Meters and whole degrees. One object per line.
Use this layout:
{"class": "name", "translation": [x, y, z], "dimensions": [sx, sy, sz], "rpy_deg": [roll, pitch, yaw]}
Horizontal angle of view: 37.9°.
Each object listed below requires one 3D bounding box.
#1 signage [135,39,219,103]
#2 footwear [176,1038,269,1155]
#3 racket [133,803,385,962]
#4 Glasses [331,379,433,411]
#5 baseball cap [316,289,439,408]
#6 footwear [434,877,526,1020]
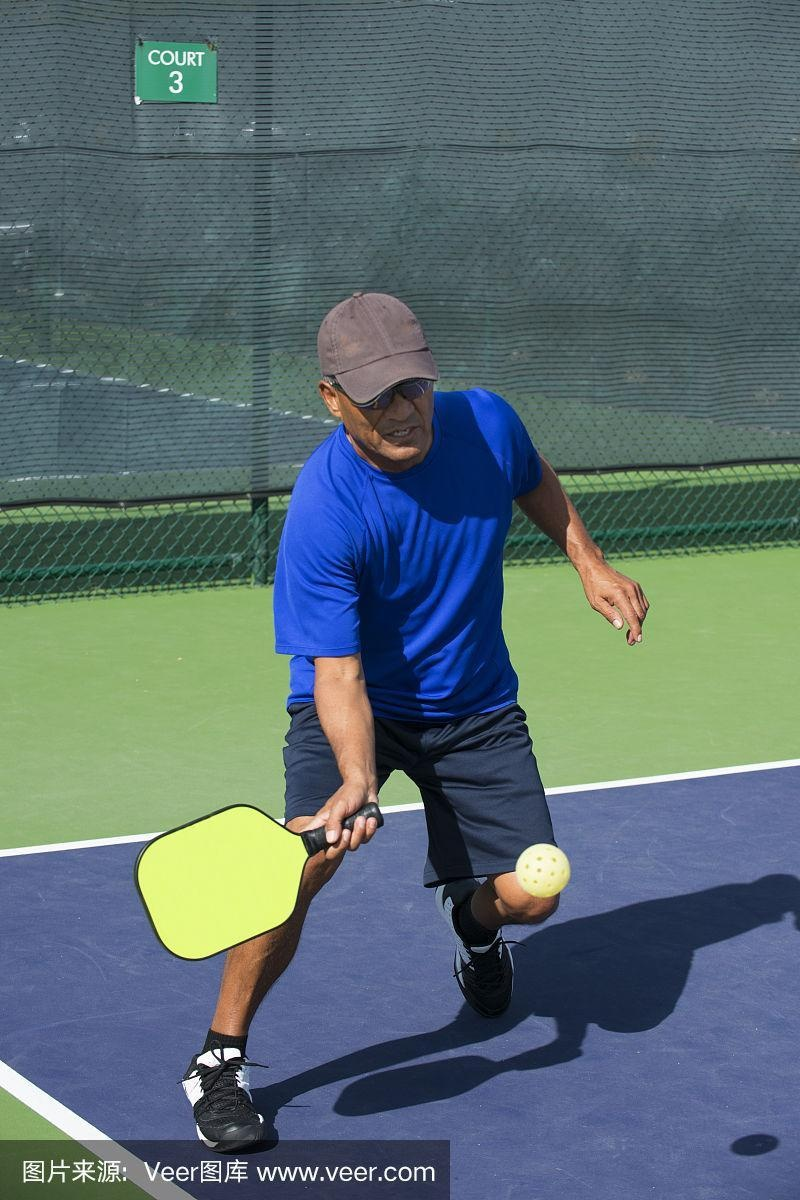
{"class": "signage", "translation": [-1.281, -2.982, 6.545], "dimensions": [0.427, 0.262, 0.014], "rpy_deg": [-2, 10, -14]}
{"class": "footwear", "translation": [-0.355, 0.999, 2.335], "dimensions": [0.125, 0.109, 0.249], "rpy_deg": [-3, -3, -16]}
{"class": "racket", "translation": [-0.277, 0.457, 1.962], "dimensions": [0.453, 0.198, 0.050], "rpy_deg": [-21, -2, -28]}
{"class": "Glasses", "translation": [-0.023, -0.379, 2.161], "dimensions": [0.147, 0.057, 0.065], "rpy_deg": [-2, 13, -10]}
{"class": "baseball cap", "translation": [-0.053, -0.504, 2.233], "dimensions": [0.208, 0.143, 0.286], "rpy_deg": [-18, 35, -7]}
{"class": "footwear", "translation": [0.179, 0.866, 2.862], "dimensions": [0.169, 0.347, 0.156], "rpy_deg": [-19, 13, -8]}
